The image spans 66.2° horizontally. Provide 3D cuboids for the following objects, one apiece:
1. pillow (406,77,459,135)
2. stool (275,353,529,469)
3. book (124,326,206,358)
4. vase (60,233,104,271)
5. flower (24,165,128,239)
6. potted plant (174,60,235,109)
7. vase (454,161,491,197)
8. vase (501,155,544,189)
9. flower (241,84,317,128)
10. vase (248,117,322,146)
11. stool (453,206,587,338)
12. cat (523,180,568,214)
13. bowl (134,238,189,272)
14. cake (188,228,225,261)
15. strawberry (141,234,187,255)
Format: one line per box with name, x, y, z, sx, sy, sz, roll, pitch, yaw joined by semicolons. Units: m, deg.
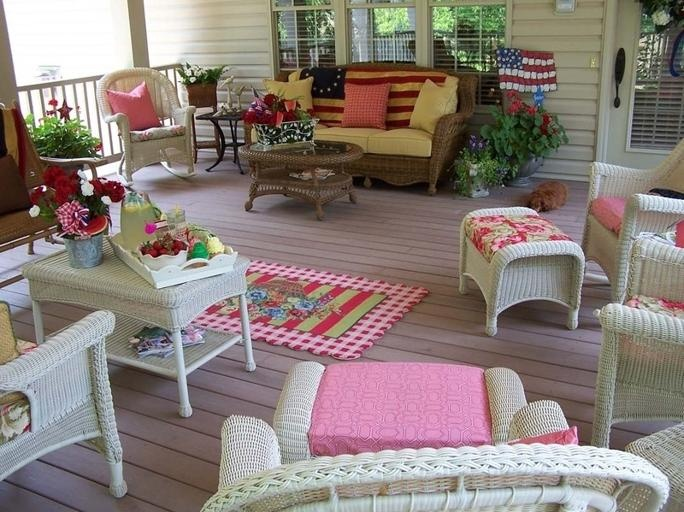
pillow;1.009;-1.620;5.719;0.373;0.603;0.666;-15;24;-35
stool;0.182;0.679;1.961;0.651;0.320;0.341;-1;34;3
book;-0.945;0.450;2.813;0.226;0.060;0.217;12;19;29
vase;-1.334;-0.025;2.703;0.191;0.144;0.202;-8;16;-25
flower;-1.320;-0.261;2.704;0.457;0.297;0.408;-6;57;-19
potted plant;-1.894;-2.325;7.260;0.882;0.766;0.763;-1;14;-4
vase;1.318;-0.821;5.616;0.456;0.389;0.362;-5;17;-11
vase;2.014;-0.910;5.818;0.431;0.241;0.339;-3;26;-2
flower;-0.622;-1.488;5.324;0.478;0.245;0.455;6;11;22
vase;-0.564;-1.259;5.336;0.496;0.159;0.315;-2;22;-4
stool;1.068;0.071;3.480;0.731;0.613;0.839;-8;29;-8
cat;2.034;-0.582;5.191;0.331;0.162;0.477;-1;23;37
bowl;-0.883;-0.009;2.588;0.241;0.182;0.133;-7;-14;12
cake;-0.707;-0.063;2.694;0.169;0.068;0.170;-1;14;-19
strawberry;-0.886;-0.047;2.586;0.153;0.075;0.142;4;14;27
